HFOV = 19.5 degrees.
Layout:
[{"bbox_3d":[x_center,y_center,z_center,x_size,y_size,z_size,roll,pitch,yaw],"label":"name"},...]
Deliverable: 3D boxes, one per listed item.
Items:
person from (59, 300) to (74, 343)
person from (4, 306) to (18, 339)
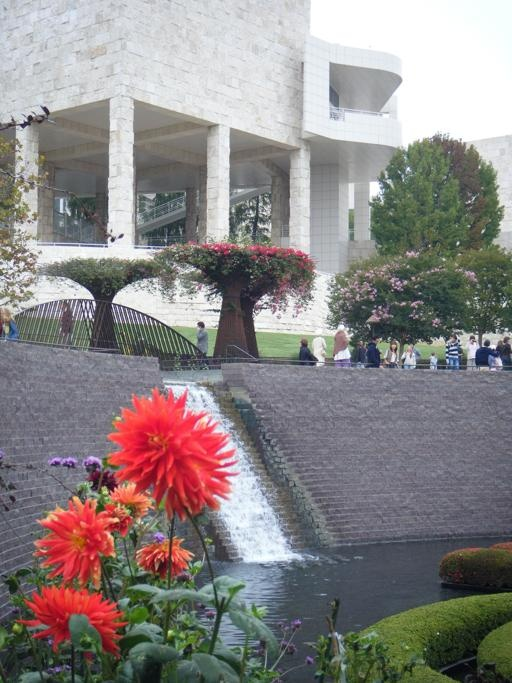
[{"bbox_3d":[-3.856,-0.324,30.181,0.270,0.858,0.831,0,-1,-7],"label":"person"},{"bbox_3d":[-4.875,-0.317,29.494,0.257,0.621,1.362,0,-1,-9],"label":"person"}]
